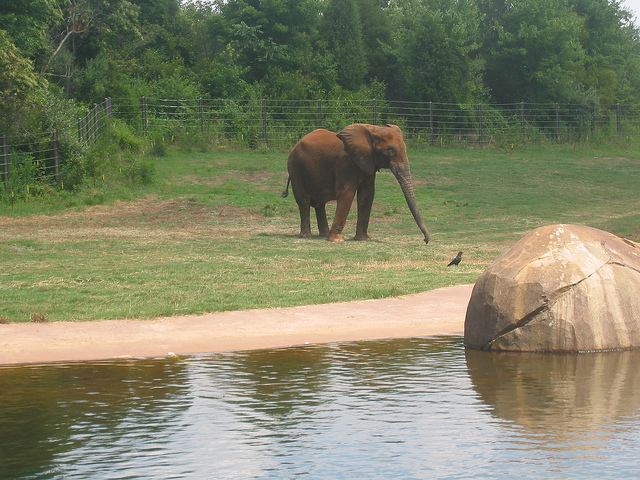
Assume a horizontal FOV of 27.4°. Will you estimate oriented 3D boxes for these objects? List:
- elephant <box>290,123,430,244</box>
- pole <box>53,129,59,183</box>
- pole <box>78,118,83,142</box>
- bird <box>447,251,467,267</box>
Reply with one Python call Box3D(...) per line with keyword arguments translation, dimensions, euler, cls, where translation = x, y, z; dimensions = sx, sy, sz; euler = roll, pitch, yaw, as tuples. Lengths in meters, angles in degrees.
Box3D(translation=(1.071, -1.631, 37.933), dimensions=(4.922, 3.184, 2.394), euler=(1, 0, 36), cls="elephant")
Box3D(translation=(-8.548, -2.753, 42.344), dimensions=(0.178, 1.656, 0.667), euler=(-4, 5, -11), cls="pole")
Box3D(translation=(-8.130, -3.749, 44.315), dimensions=(0.161, 0.771, 0.710), euler=(-3, 5, -10), cls="pole")
Box3D(translation=(3.434, 0.512, 33.099), dimensions=(0.363, 0.390, 0.526), euler=(-2, 5, 1), cls="bird")
